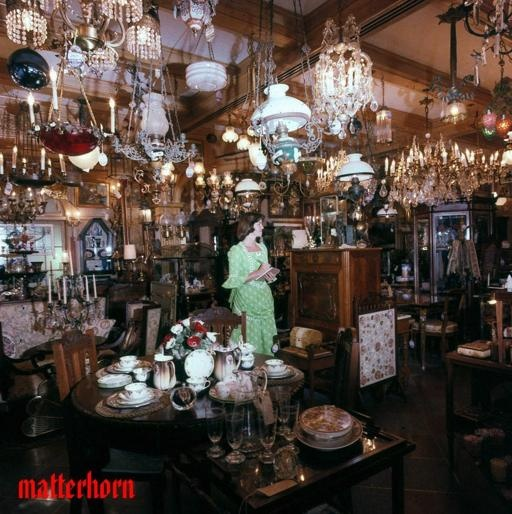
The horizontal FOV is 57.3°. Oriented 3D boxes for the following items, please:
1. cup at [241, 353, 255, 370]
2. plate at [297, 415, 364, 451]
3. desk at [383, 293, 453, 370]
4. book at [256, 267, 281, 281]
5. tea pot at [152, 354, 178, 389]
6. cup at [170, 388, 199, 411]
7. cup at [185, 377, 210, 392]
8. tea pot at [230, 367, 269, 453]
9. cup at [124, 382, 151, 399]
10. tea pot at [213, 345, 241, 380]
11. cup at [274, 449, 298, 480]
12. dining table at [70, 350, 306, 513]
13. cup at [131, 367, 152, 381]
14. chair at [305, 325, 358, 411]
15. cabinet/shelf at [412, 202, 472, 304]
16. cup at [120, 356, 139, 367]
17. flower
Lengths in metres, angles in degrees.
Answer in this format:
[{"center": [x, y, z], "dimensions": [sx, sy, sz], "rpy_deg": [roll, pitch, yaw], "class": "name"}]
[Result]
[{"center": [-0.028, 0.592, 2.708], "dimensions": [0.093, 0.069, 0.083], "rpy_deg": [-2, 3, -24], "class": "cup"}, {"center": [0.319, 0.765, 2.096], "dimensions": [0.235, 0.043, 0.240], "rpy_deg": [-5, -7, 21], "class": "plate"}, {"center": [2.072, 0.896, 5.779], "dimensions": [0.503, 0.542, 0.685], "rpy_deg": [-6, -13, 9], "class": "desk"}, {"center": [0.085, 0.136, 3.598], "dimensions": [0.169, 0.118, 0.219], "rpy_deg": [-2, 2, -1], "class": "book"}, {"center": [-0.478, 0.619, 2.493], "dimensions": [0.122, 0.163, 0.165], "rpy_deg": [-5, 6, -43], "class": "tea pot"}, {"center": [-0.348, 0.675, 2.228], "dimensions": [0.106, 0.103, 0.078], "rpy_deg": [-5, -22, -7], "class": "cup"}, {"center": [-0.299, 0.645, 2.429], "dimensions": [0.106, 0.058, 0.086], "rpy_deg": [1, -8, -10], "class": "cup"}, {"center": [-0.030, 0.674, 2.041], "dimensions": [0.244, 0.407, 0.188], "rpy_deg": [1, -9, -9], "class": "tea pot"}, {"center": [-0.597, 0.659, 2.333], "dimensions": [0.093, 0.042, 0.075], "rpy_deg": [2, -1, -34], "class": "cup"}, {"center": [-0.161, 0.574, 2.533], "dimensions": [0.164, 0.180, 0.136], "rpy_deg": [1, 6, 42], "class": "tea pot"}, {"center": [0.121, 0.820, 1.863], "dimensions": [0.081, 0.090, 0.072], "rpy_deg": [-4, -8, 1], "class": "cup"}, {"center": [-0.505, 0.827, 2.381], "dimensions": [0.691, 0.545, 0.747], "rpy_deg": [-2, -1, 32], "class": "dining table"}, {"center": [-0.640, 0.644, 2.586], "dimensions": [0.090, 0.051, 0.090], "rpy_deg": [0, -12, 0], "class": "cup"}, {"center": [0.379, 0.557, 2.553], "dimensions": [0.244, 0.370, 0.254], "rpy_deg": [24, -6, -18], "class": "chair"}, {"center": [2.946, -0.172, 7.316], "dimensions": [0.922, 1.868, 0.676], "rpy_deg": [-3, 20, 21], "class": "cabinet/shelf"}, {"center": [-0.784, 0.627, 2.852], "dimensions": [0.076, 0.042, 0.071], "rpy_deg": [-3, 7, 0], "class": "cup"}, {"center": [-0.362, 0.434, 2.537], "dimensions": [0.248, 0.100, 0.248], "rpy_deg": [3, 36, -8], "class": "flower"}]
